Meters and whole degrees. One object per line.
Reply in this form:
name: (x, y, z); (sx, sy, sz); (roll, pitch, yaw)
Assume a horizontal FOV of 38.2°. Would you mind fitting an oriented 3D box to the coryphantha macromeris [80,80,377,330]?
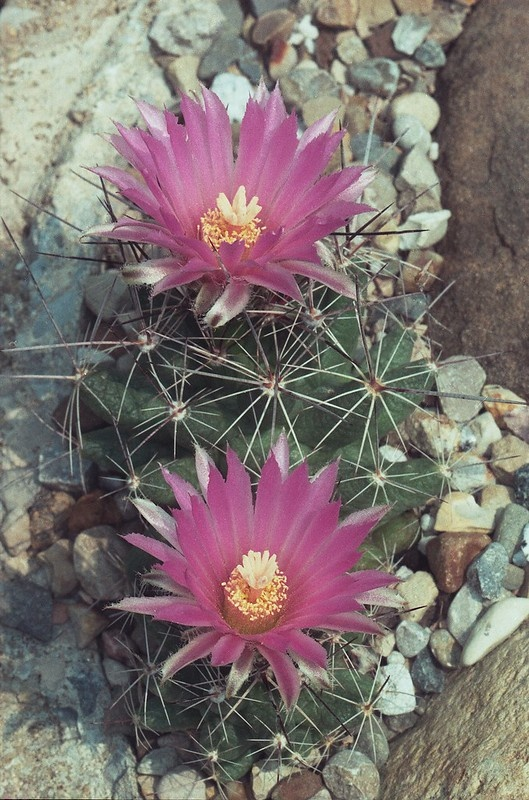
coryphantha macromeris: (-0.025, -0.294, 1.213); (0.413, 0.385, 0.188); (2, 92, -23)
